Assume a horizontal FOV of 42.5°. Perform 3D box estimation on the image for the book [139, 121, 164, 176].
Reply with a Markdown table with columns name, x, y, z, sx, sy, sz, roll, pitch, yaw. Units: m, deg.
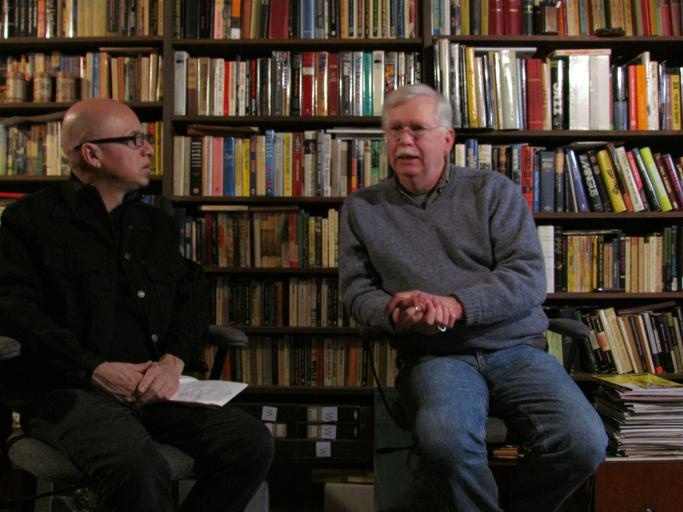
| name | x | y | z | sx | sy | sz | roll | pitch | yaw |
| --- | --- | --- | --- | --- | --- | --- | --- | --- | --- |
| book | -0.823 | -0.458 | 3.829 | 0.139 | 0.255 | 0.253 | 1 | 10 | -7 |

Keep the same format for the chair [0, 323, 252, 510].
| name | x | y | z | sx | sy | sz | roll | pitch | yaw |
| --- | --- | --- | --- | --- | --- | --- | --- | --- | --- |
| chair | -0.787 | 0.548 | 3.317 | 0.668 | 0.788 | 0.655 | 4 | -9 | 39 |

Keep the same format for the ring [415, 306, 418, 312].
| name | x | y | z | sx | sy | sz | roll | pitch | yaw |
| --- | --- | --- | --- | --- | --- | --- | --- | --- | --- |
| ring | 0.270 | 0.190 | 3.154 | 0.020 | 0.019 | 0.005 | 2 | -7 | -3 |

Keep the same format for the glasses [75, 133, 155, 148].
| name | x | y | z | sx | sy | sz | roll | pitch | yaw |
| --- | --- | --- | --- | --- | --- | --- | --- | --- | --- |
| glasses | -0.869 | -0.445 | 3.435 | 0.173 | 0.048 | 0.147 | -4 | 7 | -22 |
